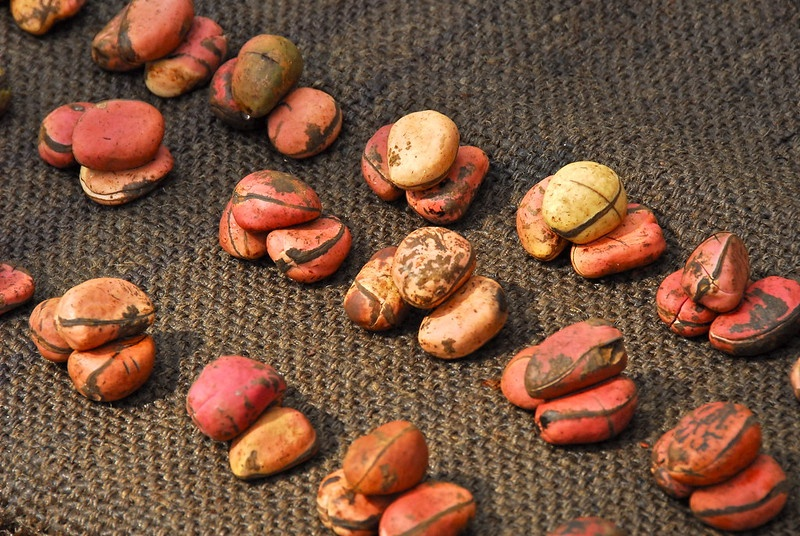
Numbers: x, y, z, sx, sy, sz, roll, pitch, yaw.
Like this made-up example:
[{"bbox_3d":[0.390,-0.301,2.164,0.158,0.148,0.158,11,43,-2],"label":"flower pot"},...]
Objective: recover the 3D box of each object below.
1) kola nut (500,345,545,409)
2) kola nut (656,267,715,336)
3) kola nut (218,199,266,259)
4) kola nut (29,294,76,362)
[{"bbox_3d":[0.224,0.215,1.727,0.053,0.093,0.110,20,88,-15],"label":"kola nut"},{"bbox_3d":[0.550,0.079,1.695,0.092,0.067,0.126,26,37,2],"label":"kola nut"},{"bbox_3d":[-0.330,-0.073,1.850,0.086,0.067,0.124,-5,87,11],"label":"kola nut"},{"bbox_3d":[-0.692,0.120,1.815,0.062,0.092,0.116,-11,55,-49],"label":"kola nut"}]
